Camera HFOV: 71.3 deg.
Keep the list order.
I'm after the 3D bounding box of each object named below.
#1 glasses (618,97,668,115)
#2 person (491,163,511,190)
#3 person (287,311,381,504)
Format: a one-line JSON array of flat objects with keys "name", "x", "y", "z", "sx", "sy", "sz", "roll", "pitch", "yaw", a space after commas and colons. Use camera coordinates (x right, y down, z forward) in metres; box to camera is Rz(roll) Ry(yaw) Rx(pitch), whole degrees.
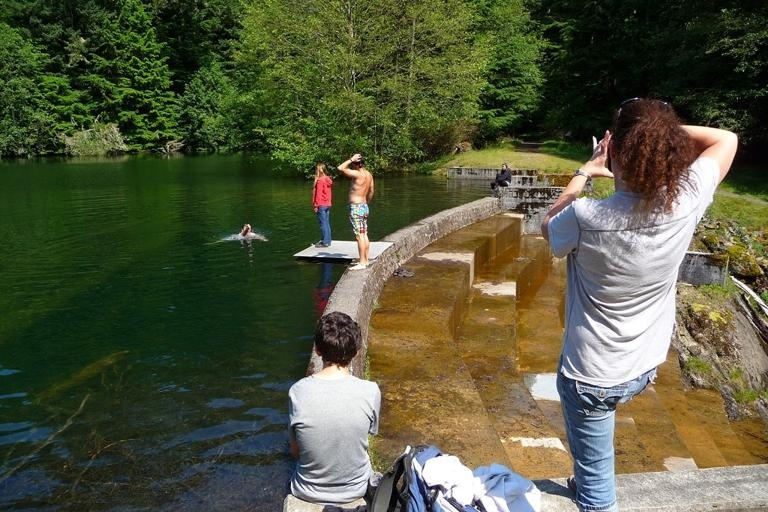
[{"name": "glasses", "x": 1.706, "y": -0.984, "z": 3.509, "sx": 0.326, "sy": 0.104, "sz": 0.240, "roll": 8, "pitch": 21, "yaw": 18}, {"name": "person", "x": 4.415, "y": -2.970, "z": 20.004, "sx": 0.676, "sy": 0.863, "sz": 1.888, "roll": 6, "pitch": 21, "yaw": 12}, {"name": "person", "x": -0.409, "y": 1.230, "z": 4.144, "sx": 0.685, "sy": 1.322, "sz": 0.556, "roll": -6, "pitch": 22, "yaw": -19}]
